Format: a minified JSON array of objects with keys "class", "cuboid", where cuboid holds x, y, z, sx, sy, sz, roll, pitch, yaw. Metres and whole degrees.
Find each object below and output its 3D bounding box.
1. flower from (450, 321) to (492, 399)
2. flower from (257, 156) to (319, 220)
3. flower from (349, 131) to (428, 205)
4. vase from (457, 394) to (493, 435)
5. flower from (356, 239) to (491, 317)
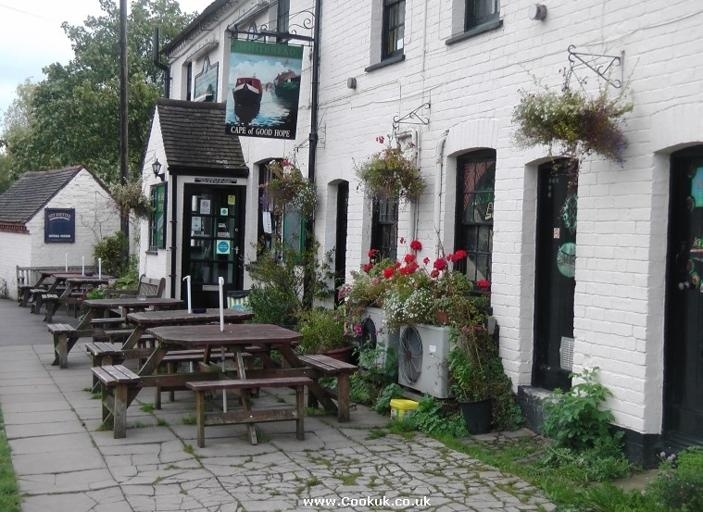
[{"class":"flower","cuboid":[1.455,1.307,7.934,0.525,0.853,0.252,-1,-11,6]},{"class":"flower","cuboid":[-1.408,-1.500,12.737,1.133,0.899,1.233,-6,18,-35]},{"class":"flower","cuboid":[0.583,-1.183,9.862,0.997,1.045,0.757,4,-34,-3]},{"class":"vase","cuboid":[1.510,1.922,7.923,0.413,0.363,0.362,0,-12,-8]},{"class":"flower","cuboid":[1.070,0.457,8.764,1.062,0.842,1.590,0,3,-36]}]
